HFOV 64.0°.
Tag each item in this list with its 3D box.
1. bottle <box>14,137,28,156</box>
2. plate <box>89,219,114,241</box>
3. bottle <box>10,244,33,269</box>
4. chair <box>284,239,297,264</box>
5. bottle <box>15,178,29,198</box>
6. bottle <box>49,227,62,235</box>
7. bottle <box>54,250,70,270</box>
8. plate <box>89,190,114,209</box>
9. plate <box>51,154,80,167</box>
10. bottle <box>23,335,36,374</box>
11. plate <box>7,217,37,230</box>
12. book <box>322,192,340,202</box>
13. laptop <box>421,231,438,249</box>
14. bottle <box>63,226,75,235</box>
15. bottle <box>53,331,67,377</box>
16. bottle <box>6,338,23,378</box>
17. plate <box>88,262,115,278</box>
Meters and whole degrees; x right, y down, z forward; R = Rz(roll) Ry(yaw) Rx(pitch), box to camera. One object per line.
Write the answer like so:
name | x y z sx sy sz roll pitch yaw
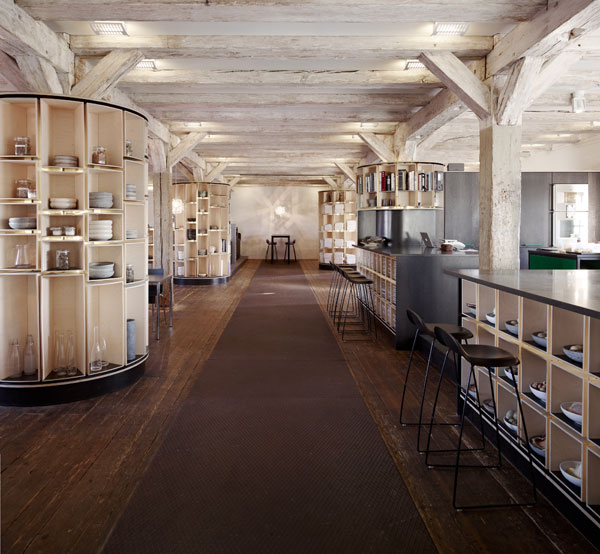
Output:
bottle | -2.332 -1.084 4.015 0.106 0.154 0.093 -4 7 -28
plate | -1.775 -0.424 4.327 0.196 0.139 0.190 2 7 8
bottle | -2.391 -0.183 4.136 0.171 0.205 0.154 5 8 37
chair | -0.411 -1.115 19.963 0.580 0.852 1.414 0 7 -1
bottle | -2.365 -0.745 4.075 0.197 0.154 0.091 6 9 43
bottle | -2.101 -0.391 4.104 0.127 0.070 0.045 2 7 21
bottle | -2.059 -0.151 4.178 0.103 0.167 0.135 5 9 39
plate | -1.786 -0.690 4.319 0.166 0.100 0.164 3 5 28
plate | -2.017 -0.985 4.107 0.216 0.092 0.100 -3 7 -27
bottle | -2.342 0.668 4.141 0.114 0.335 0.121 0 7 0
plate | -2.358 -0.442 4.105 0.142 0.062 0.150 0 1 -4
book | 1.018 -2.688 16.072 0.483 0.277 0.468 0 1 4
laptop | 2.109 -0.607 7.868 0.289 0.329 0.356 -5 8 -22
bottle | -2.004 -0.401 4.175 0.080 0.075 0.136 -1 7 -11
bottle | -2.102 0.659 4.185 0.109 0.347 0.207 -4 8 -29
bottle | -2.461 0.687 4.108 0.091 0.308 0.140 -2 7 -16
plate | -1.783 -0.067 4.316 0.166 0.094 0.155 0 2 18
